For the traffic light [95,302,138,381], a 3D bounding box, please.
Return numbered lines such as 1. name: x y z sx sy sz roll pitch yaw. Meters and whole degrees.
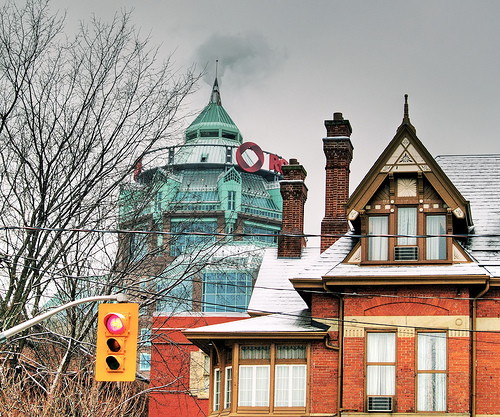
1. traffic light: -3.896 3.895 42.720 1.165 2.369 0.698 5 -20 -7
